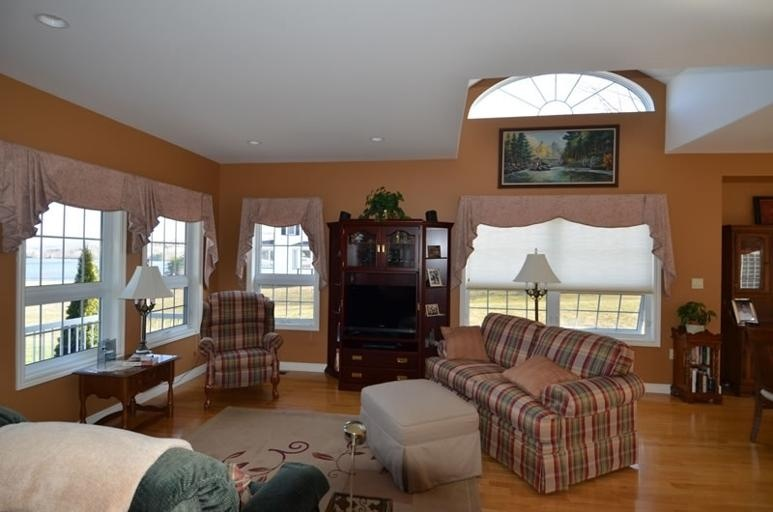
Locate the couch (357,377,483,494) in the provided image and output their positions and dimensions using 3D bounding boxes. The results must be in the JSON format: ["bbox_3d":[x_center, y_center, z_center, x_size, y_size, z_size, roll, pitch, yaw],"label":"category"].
[{"bbox_3d":[0.387,1.744,6.235,1.186,0.718,1.462,-4,8,-23],"label":"couch"}]

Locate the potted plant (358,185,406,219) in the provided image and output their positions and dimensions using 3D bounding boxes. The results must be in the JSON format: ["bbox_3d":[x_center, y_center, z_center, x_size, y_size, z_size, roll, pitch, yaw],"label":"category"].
[{"bbox_3d":[-0.055,-0.657,7.779,0.516,0.342,0.506,2,2,9],"label":"potted plant"}]

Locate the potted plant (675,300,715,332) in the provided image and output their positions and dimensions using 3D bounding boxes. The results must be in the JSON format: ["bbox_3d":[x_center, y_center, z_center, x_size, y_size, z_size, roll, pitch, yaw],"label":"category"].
[{"bbox_3d":[3.917,0.767,7.505,0.422,0.320,0.408,5,-7,-24],"label":"potted plant"}]

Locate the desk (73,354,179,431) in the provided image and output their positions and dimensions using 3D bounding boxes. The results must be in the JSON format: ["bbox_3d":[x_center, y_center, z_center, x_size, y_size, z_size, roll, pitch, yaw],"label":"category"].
[{"bbox_3d":[-2.808,1.503,6.520,0.731,0.599,0.910,-2,1,25],"label":"desk"}]

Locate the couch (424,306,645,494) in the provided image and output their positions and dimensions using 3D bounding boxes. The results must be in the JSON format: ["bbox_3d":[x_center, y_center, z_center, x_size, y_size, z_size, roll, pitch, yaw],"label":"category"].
[{"bbox_3d":[1.447,1.362,6.625,1.478,1.191,2.333,-6,10,-23],"label":"couch"}]

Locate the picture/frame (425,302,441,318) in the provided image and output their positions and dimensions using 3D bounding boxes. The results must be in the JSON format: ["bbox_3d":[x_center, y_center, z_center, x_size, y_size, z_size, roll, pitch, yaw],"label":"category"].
[{"bbox_3d":[0.595,0.694,7.736,0.224,0.143,0.023,2,-9,-39],"label":"picture/frame"}]

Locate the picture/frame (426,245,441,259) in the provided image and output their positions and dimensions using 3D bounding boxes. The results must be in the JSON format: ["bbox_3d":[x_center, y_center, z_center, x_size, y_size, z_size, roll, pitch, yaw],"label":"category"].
[{"bbox_3d":[0.611,-0.055,7.764,0.192,0.155,0.019,1,-7,-29],"label":"picture/frame"}]

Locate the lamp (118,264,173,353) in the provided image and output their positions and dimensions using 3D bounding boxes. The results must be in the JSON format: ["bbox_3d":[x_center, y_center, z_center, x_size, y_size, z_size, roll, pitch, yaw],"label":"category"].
[{"bbox_3d":[-2.732,0.599,6.759,0.504,1.017,0.789,2,-3,-24],"label":"lamp"}]

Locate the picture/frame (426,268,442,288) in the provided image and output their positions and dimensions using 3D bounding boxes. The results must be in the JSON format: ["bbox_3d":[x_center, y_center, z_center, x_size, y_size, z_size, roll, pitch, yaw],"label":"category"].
[{"bbox_3d":[0.608,0.285,7.735,0.260,0.241,0.018,5,-14,-39],"label":"picture/frame"}]

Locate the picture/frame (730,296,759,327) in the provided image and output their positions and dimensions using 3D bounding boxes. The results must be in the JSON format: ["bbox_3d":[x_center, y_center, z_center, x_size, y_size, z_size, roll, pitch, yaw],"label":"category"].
[{"bbox_3d":[4.602,0.706,7.655,0.349,0.328,0.080,2,-20,-1],"label":"picture/frame"}]
